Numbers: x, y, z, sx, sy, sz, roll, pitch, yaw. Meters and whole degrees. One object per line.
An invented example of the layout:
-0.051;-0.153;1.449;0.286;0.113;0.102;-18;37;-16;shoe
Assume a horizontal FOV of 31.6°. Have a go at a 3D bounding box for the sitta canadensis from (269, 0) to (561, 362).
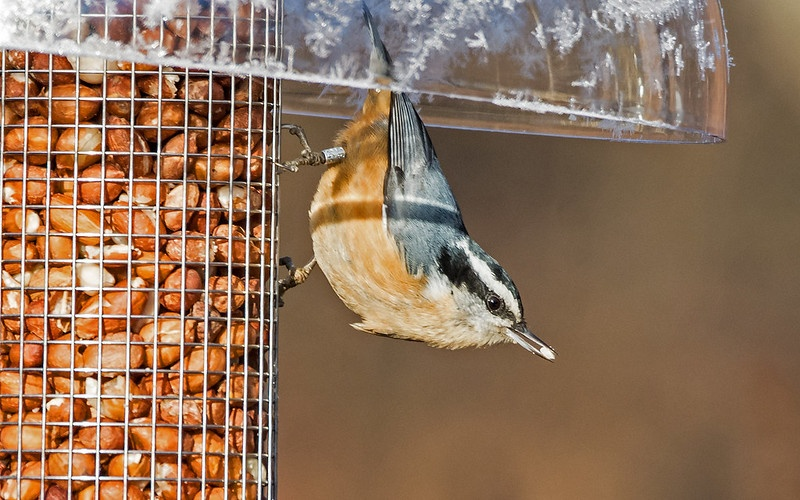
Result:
0.072;-0.031;2.763;0.549;0.286;0.859;-6;95;29;sitta canadensis
